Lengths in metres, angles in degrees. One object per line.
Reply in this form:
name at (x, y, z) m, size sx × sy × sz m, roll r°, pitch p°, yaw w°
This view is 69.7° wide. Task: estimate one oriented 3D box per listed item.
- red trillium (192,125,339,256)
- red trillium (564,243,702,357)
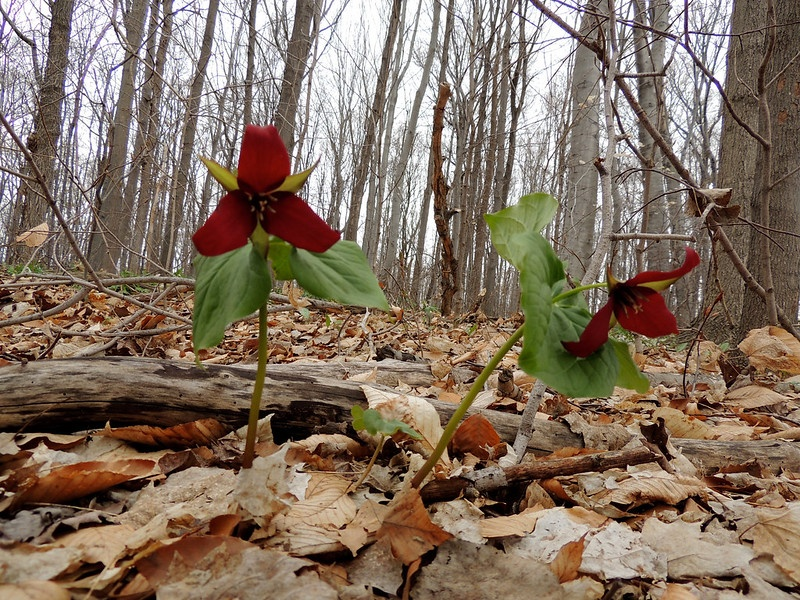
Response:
red trillium at (-0.489, -0.362, 1.920) m, size 0.455 × 0.208 × 0.405 m, roll -21°, pitch -13°, yaw 24°
red trillium at (0.716, -0.039, 1.955) m, size 0.501 × 0.169 × 0.367 m, roll -16°, pitch 8°, yaw -11°
